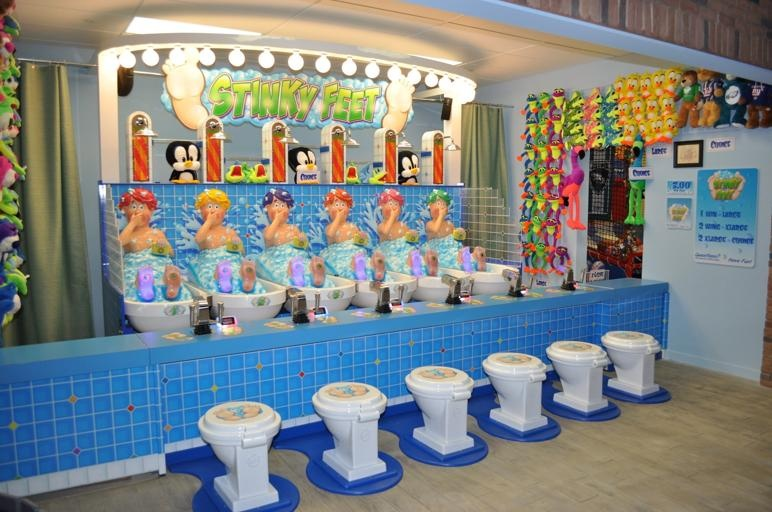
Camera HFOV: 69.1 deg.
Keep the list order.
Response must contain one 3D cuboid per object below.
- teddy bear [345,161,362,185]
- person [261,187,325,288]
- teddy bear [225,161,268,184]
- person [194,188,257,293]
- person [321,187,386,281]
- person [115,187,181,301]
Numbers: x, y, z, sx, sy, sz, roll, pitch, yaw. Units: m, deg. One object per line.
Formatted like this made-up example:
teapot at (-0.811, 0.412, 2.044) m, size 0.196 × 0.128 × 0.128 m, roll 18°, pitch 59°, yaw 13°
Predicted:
teddy bear at (-0.400, -0.989, 6.789) m, size 0.172 × 0.250 × 0.249 m, roll -4°, pitch 10°, yaw 1°
person at (-1.052, -0.207, 5.996) m, size 0.650 × 0.998 × 0.881 m, roll -7°, pitch 10°, yaw -13°
teddy bear at (-1.562, -0.925, 6.326) m, size 0.485 × 0.240 × 0.241 m, roll -7°, pitch 10°, yaw -15°
person at (-1.676, -0.154, 5.655) m, size 0.560 × 0.999 × 0.819 m, roll -8°, pitch 10°, yaw -20°
person at (-0.444, -0.243, 6.307) m, size 0.525 × 0.996 × 0.908 m, roll -10°, pitch 11°, yaw -28°
person at (-2.330, -0.127, 5.459) m, size 0.503 × 1.032 × 0.948 m, roll -9°, pitch 11°, yaw -23°
